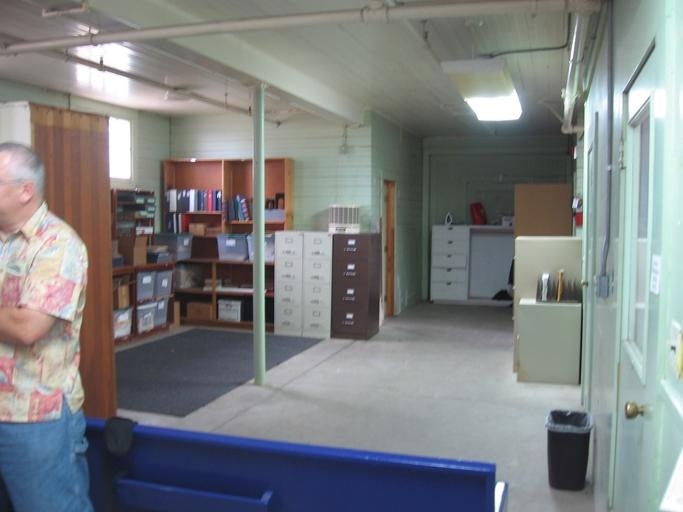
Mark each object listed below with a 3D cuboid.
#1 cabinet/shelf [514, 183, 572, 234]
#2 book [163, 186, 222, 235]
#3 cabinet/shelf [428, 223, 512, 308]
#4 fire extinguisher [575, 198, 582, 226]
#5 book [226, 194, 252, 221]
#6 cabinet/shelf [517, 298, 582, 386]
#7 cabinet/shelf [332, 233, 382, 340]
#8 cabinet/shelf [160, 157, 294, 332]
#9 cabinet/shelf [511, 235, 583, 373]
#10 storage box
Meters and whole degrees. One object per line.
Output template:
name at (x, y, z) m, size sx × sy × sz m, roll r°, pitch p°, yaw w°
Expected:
cabinet/shelf at (3.223, -0.757, 8.688) m, size 0.643 × 0.699 × 0.348 m, roll 2°, pitch 8°, yaw 11°
book at (-2.638, -0.801, 9.791) m, size 0.796 × 0.736 × 0.322 m, roll 2°, pitch 3°, yaw 10°
cabinet/shelf at (2.914, 0.169, 12.197) m, size 1.750 × 1.771 × 0.677 m, roll 1°, pitch 0°, yaw 14°
fire extinguisher at (3.176, -0.584, 7.322) m, size 0.077 × 0.396 × 0.585 m, roll 3°, pitch 5°, yaw 22°
book at (-1.766, -0.838, 9.515) m, size 0.451 × 0.439 × 0.070 m, roll 1°, pitch 5°, yaw 6°
cabinet/shelf at (2.551, 0.978, 6.826) m, size 0.751 × 1.131 × 1.070 m, roll 1°, pitch 0°, yaw 13°
cabinet/shelf at (0.237, 0.492, 9.063) m, size 0.777 × 1.709 × 0.946 m, roll 2°, pitch 0°, yaw 21°
cabinet/shelf at (-1.868, -0.139, 9.184) m, size 2.745 × 3.979 × 0.949 m, roll 1°, pitch 0°, yaw 20°
cabinet/shelf at (2.480, 0.576, 6.517) m, size 0.781 × 1.697 × 1.584 m, roll -1°, pitch 1°, yaw 14°
storage box at (-2.527, 0.497, 9.139) m, size 2.522 × 1.722 × 1.555 m, roll 0°, pitch 0°, yaw -4°
